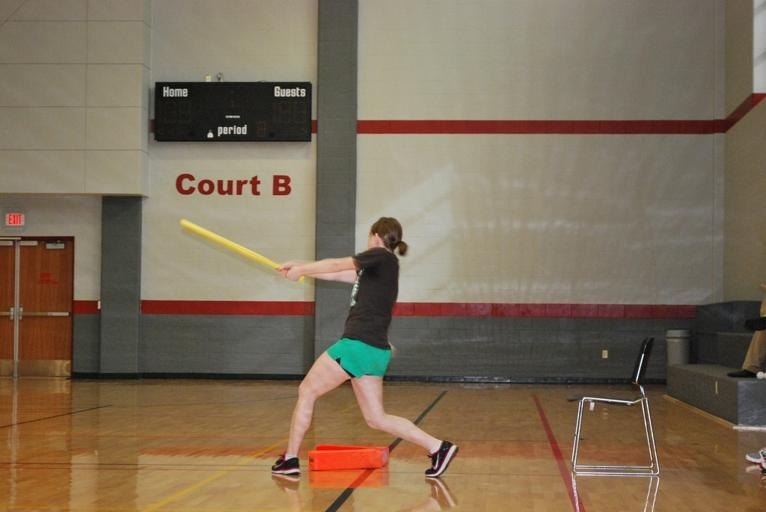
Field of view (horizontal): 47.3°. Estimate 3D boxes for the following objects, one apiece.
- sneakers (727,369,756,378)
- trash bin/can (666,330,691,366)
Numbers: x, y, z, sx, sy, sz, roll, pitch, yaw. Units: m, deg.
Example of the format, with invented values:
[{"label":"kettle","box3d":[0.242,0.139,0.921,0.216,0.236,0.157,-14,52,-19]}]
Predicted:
[{"label":"sneakers","box3d":[5.484,1.820,13.415,0.438,0.139,0.120,3,-7,20]},{"label":"trash bin/can","box3d":[5.684,1.747,16.854,0.457,0.649,0.279,2,10,14]}]
